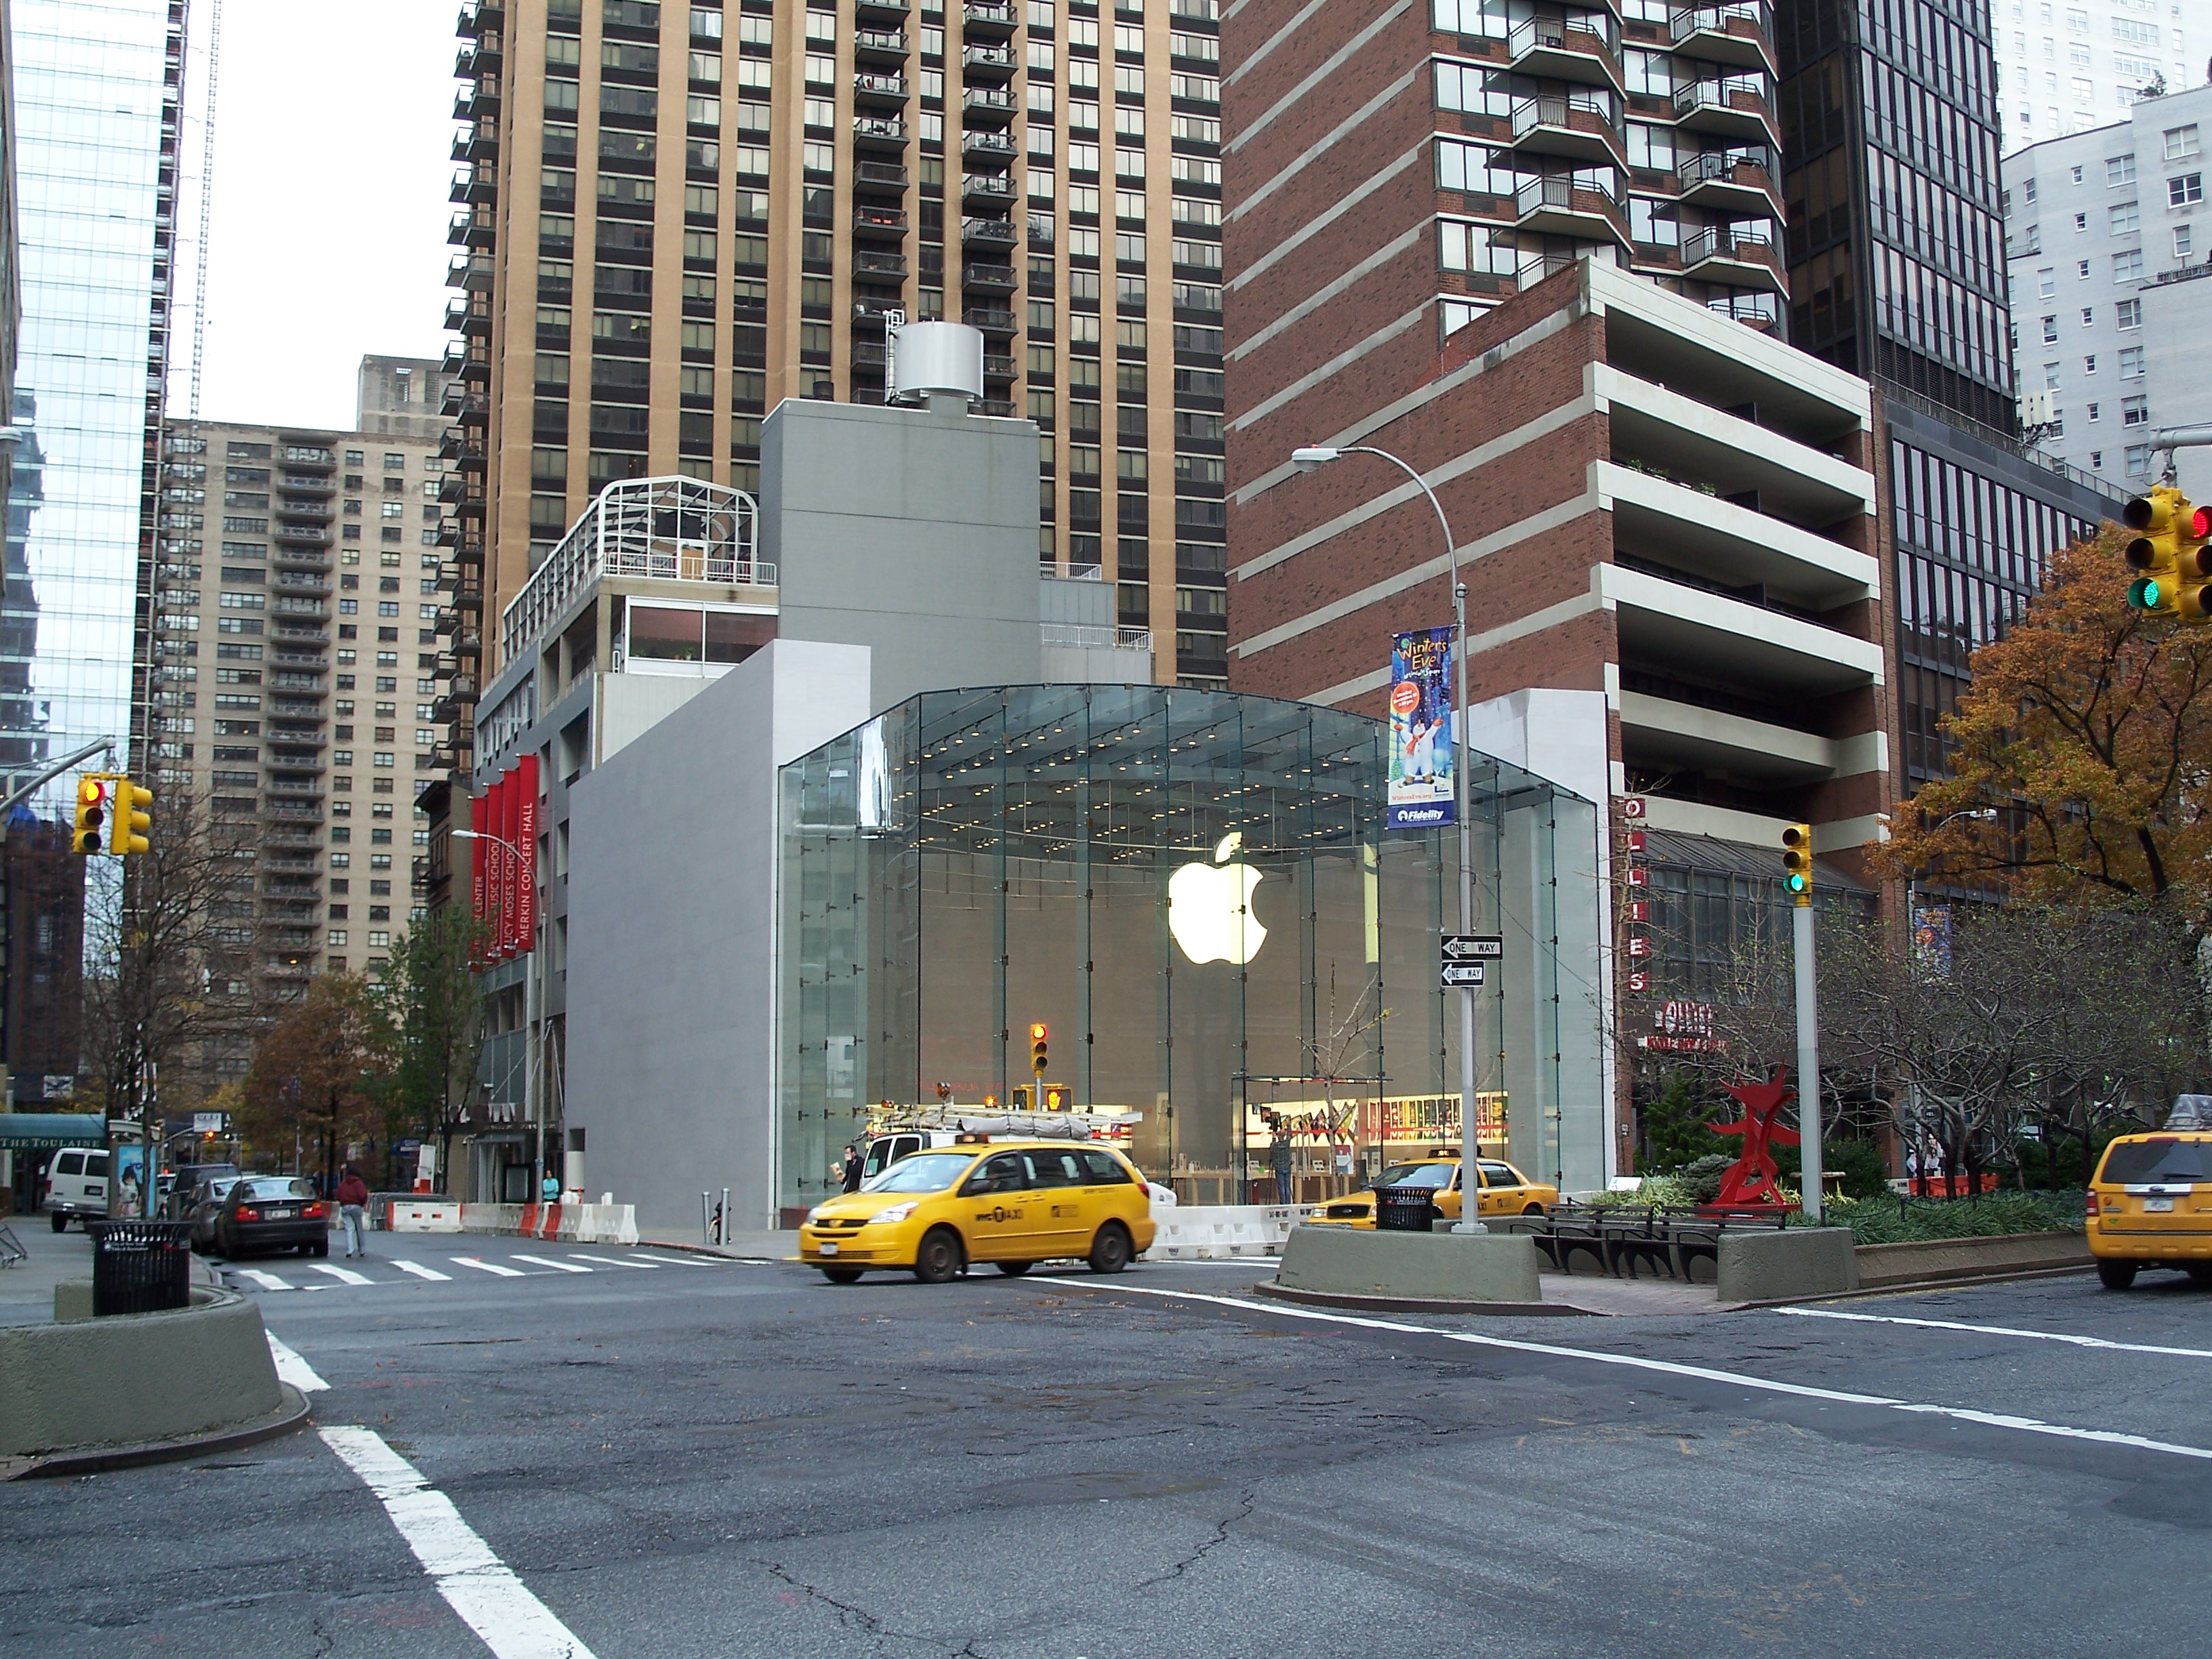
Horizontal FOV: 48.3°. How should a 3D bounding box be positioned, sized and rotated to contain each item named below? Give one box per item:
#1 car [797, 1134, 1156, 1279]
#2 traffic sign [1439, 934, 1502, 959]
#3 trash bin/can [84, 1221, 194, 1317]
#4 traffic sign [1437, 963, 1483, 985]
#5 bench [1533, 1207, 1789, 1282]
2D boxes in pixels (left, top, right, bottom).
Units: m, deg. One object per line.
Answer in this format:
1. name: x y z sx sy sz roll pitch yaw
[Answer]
1. car: -1.907 5.655 35.984 4.387 1.608 2.205 10 -16 -35
2. traffic sign: 4.703 1.508 31.508 0.827 0.319 0.512 1 -4 -36
3. trash bin/can: -8.406 3.845 21.509 0.774 0.851 0.786 -9 -11 42
4. traffic sign: 4.584 1.845 31.545 0.422 0.316 0.742 -3 -3 12
5. bench: 7.560 5.681 33.469 2.887 0.915 2.826 2 -9 -35
